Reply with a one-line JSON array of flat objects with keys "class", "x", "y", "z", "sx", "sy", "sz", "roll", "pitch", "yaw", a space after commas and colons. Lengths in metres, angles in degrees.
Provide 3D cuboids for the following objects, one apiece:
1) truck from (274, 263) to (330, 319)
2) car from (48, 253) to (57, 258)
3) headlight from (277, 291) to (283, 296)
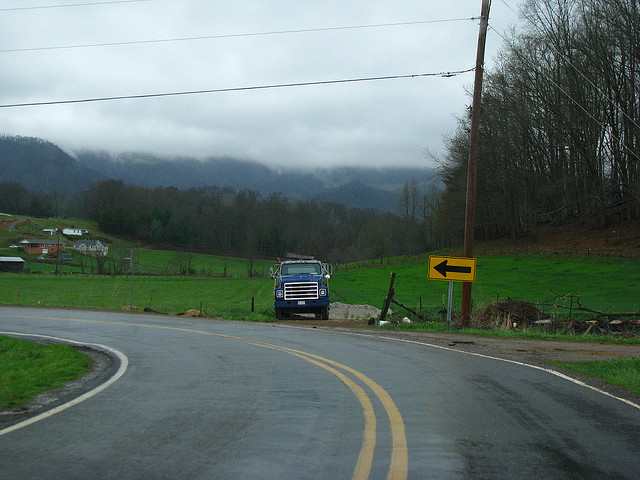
[{"class": "truck", "x": -0.934, "y": 2.522, "z": 39.210, "sx": 1.736, "sy": 1.972, "sz": 3.376, "roll": -1, "pitch": -9, "yaw": -2}, {"class": "car", "x": -47.222, "y": 2.766, "z": 133.167, "sx": 1.253, "sy": 1.029, "sz": 2.139, "roll": 0, "pitch": -2, "yaw": -37}, {"class": "headlight", "x": -2.007, "y": 2.692, "z": 37.508, "sx": 0.200, "sy": 0.237, "sz": 0.051, "roll": 1, "pitch": 1, "yaw": 6}]
